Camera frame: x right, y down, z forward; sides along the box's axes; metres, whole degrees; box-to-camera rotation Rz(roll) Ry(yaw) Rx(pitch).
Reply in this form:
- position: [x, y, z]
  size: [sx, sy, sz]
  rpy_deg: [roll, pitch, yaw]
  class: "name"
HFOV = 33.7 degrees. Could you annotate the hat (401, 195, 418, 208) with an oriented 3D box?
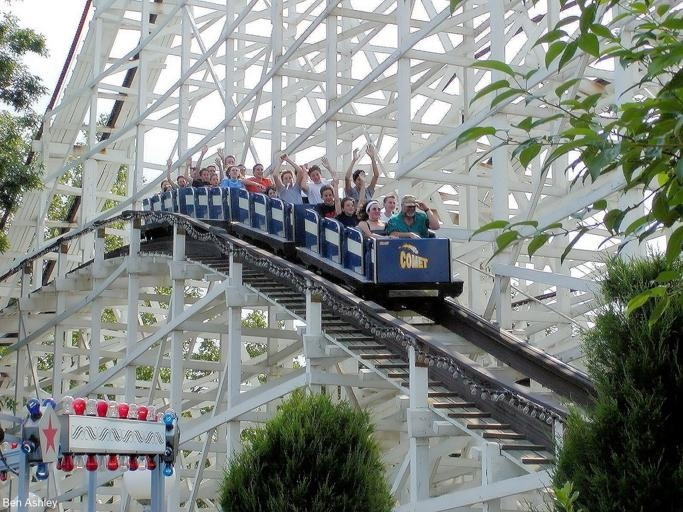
- position: [1.013, -0.827, 17.022]
  size: [0.145, 0.118, 0.217]
  rpy_deg: [4, 2, -8]
  class: "hat"
